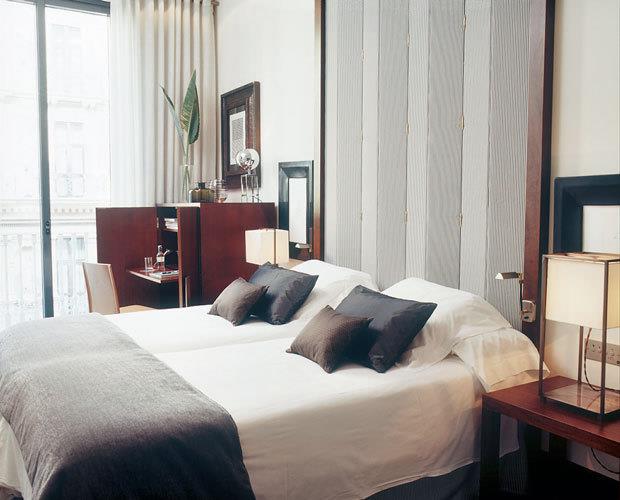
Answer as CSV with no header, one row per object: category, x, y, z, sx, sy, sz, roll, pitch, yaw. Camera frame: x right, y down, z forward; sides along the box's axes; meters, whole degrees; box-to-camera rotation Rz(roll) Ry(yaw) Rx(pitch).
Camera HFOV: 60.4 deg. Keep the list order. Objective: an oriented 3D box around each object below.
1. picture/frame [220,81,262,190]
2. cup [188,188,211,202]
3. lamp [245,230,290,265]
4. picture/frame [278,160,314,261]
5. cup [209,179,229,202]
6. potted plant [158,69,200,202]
picture/frame,-0.624,-1.061,4.941,0.092,1.385,0.939,-1,3,-29
cup,-0.949,-0.457,4.676,0.176,0.191,0.110,0,1,-21
lamp,-0.336,-0.021,4.082,0.257,0.314,0.277,0,7,9
picture/frame,-0.099,-0.319,4.294,0.064,1.060,0.638,-4,7,-29
cup,-0.782,-0.535,4.770,0.174,0.234,0.196,1,5,12
potted plant,-1.240,-1.114,5.184,0.379,1.272,0.521,-2,7,-14
